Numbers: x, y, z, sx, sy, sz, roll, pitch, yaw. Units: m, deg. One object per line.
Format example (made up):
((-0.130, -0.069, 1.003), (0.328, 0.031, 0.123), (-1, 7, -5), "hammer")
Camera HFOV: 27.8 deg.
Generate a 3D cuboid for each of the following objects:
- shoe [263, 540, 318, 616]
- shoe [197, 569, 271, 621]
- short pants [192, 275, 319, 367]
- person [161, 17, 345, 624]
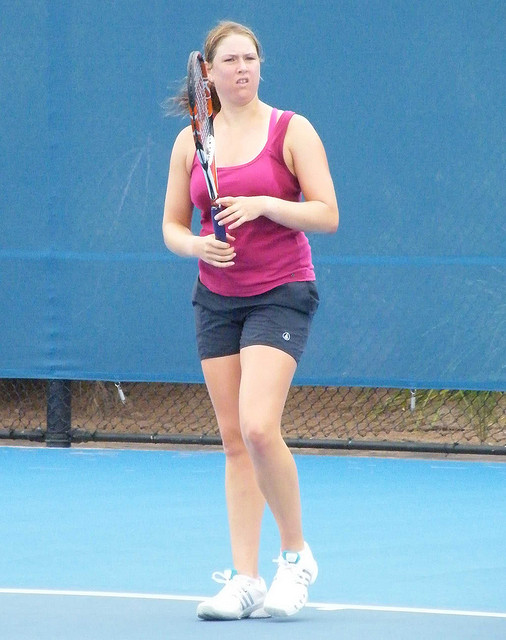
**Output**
((0.100, 0.685, 2.669), (0.091, 0.155, 0.195), (1, 2, 22), "shoe")
((-0.045, 0.730, 2.667), (0.105, 0.137, 0.259), (-5, -11, 35), "shoe")
((-0.011, 0.092, 2.800), (0.351, 0.350, 0.211), (-4, -16, 24), "short pants")
((-0.018, -0.005, 2.921), (0.480, 1.630, 0.768), (0, 1, -2), "person")
